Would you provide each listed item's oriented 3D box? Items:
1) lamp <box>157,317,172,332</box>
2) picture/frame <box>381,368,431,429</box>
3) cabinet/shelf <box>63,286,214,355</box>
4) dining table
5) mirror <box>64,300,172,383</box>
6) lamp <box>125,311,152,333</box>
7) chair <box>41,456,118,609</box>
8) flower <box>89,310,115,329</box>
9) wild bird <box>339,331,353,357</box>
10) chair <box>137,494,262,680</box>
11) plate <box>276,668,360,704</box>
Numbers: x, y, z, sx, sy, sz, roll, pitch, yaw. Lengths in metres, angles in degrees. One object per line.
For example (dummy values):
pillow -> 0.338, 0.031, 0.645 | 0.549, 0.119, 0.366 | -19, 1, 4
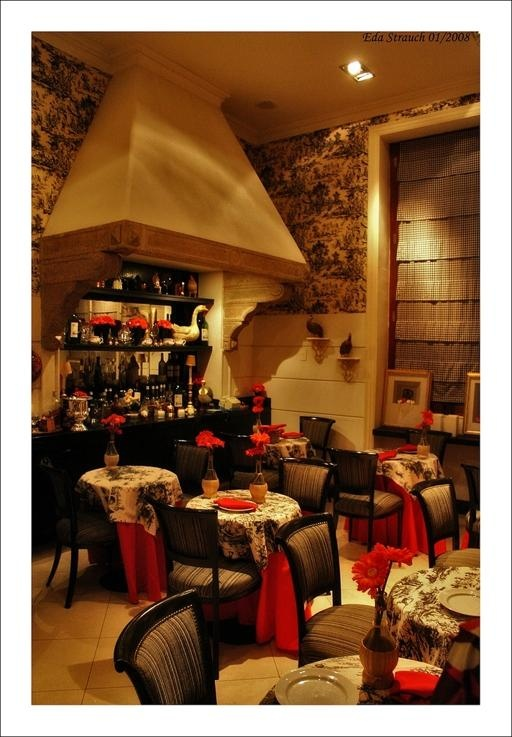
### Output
lamp -> -0.981, -0.458, 5.509 | 0.103, 0.089, 0.121 | 18, 9, -36
picture/frame -> 1.663, 0.342, 5.782 | 0.624, 0.834, 0.082 | 1, -7, 32
cabinet/shelf -> -1.187, -0.406, 5.449 | 1.564, 0.468, 0.448 | -1, 15, -34
dining table -> -0.858, 1.070, 3.591 | 0.710, 0.732, 0.625 | 6, 9, 44
mirror -> -1.230, -0.214, 5.217 | 0.184, 0.803, 1.348 | 10, 8, 39
lamp -> -1.175, -0.451, 5.205 | 0.066, 0.185, 0.207 | -17, -7, 12
chair -> -1.110, 1.069, 3.470 | 0.490, 0.762, 0.540 | -2, -6, 37
flower -> -1.417, -0.432, 4.805 | 0.176, 0.103, 0.178 | 3, 2, -5
wild bird -> 1.029, -0.265, 6.022 | 0.138, 0.262, 0.128 | 2, -6, 13
chair -> -0.234, 1.065, 2.722 | 0.569, 0.762, 0.519 | 1, -5, -32
plate -> 0.143, 0.787, 1.298 | 0.196, 0.022, 0.160 | 3, -6, 3
